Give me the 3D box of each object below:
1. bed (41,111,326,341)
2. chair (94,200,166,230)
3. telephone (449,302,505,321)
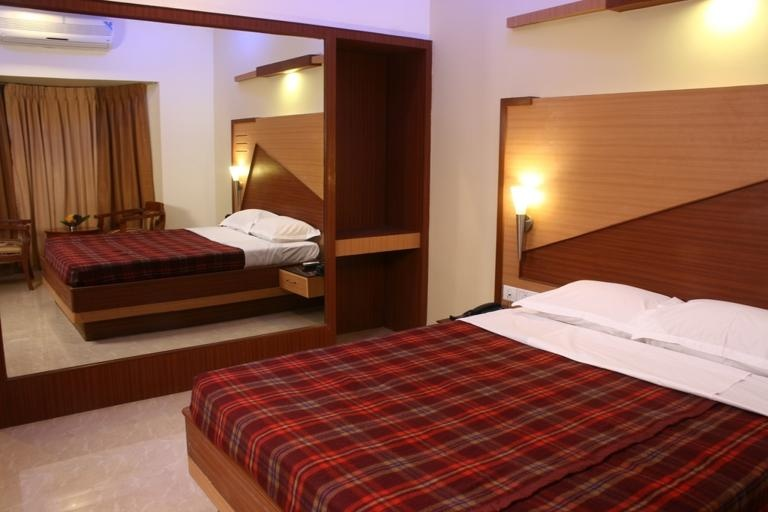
[{"bbox_3d":[-1.719,-0.348,4.390,2.022,1.330,1.877,-9,17,-33],"label":"bed"},{"bbox_3d":[-1.901,-0.313,3.754,0.266,0.347,0.300,17,19,40],"label":"chair"},{"bbox_3d":[0.724,0.418,4.019,0.383,0.108,0.200,-10,18,-31],"label":"telephone"}]
